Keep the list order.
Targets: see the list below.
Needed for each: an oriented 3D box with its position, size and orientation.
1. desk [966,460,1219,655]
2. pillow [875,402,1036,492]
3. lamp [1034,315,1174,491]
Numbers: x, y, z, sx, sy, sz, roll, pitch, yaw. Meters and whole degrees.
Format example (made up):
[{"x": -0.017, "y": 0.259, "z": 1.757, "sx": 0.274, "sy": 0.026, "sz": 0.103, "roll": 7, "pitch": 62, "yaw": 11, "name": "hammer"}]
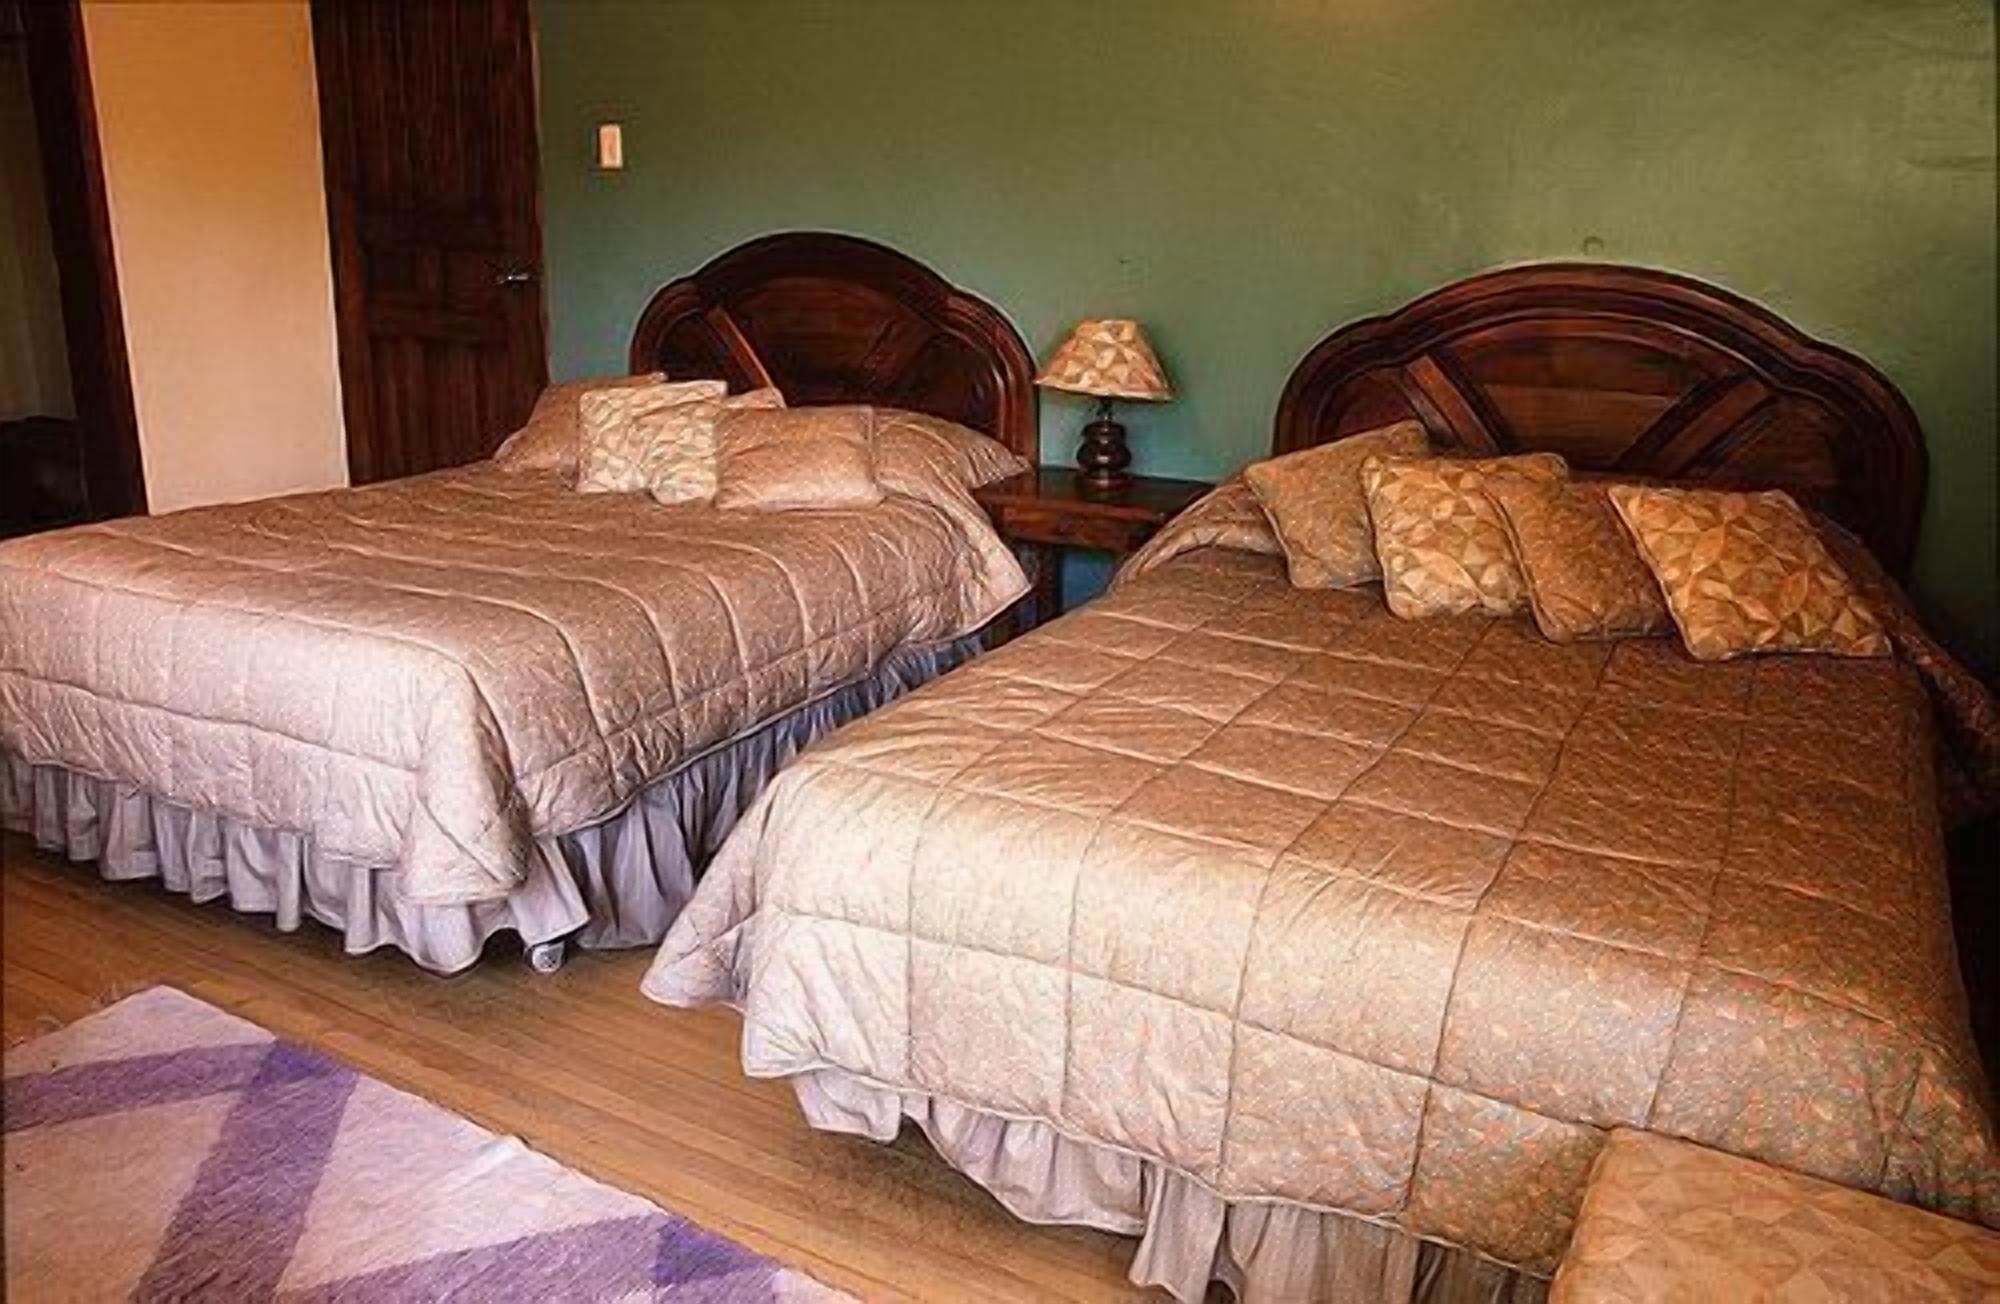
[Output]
[{"x": 0.309, "y": -0.390, "z": 4.595, "sx": 0.672, "sy": 0.789, "sz": 0.631, "roll": 8, "pitch": 15, "yaw": 30, "name": "desk"}, {"x": -0.195, "y": -0.673, "z": 4.470, "sx": 0.384, "sy": 0.098, "sz": 0.364, "roll": 16, "pitch": 24, "yaw": 25, "name": "pillow"}, {"x": 0.429, "y": -0.845, "z": 4.554, "sx": 0.585, "sy": 0.602, "sz": 0.570, "roll": 10, "pitch": 18, "yaw": 26, "name": "lamp"}]
